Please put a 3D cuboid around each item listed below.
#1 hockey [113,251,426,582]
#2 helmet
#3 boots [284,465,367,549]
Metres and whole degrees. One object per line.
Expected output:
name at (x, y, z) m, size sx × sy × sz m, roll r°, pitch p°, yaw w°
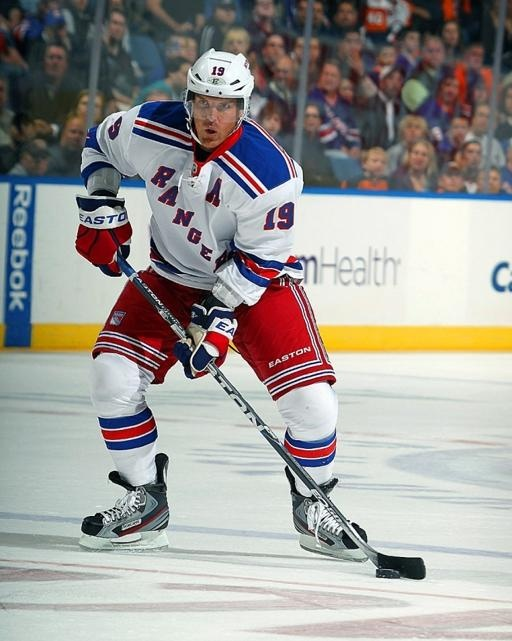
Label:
hockey at (0.035, 0.306, 2.651) m, size 0.123 × 1.443 × 0.270 m, roll -48°, pitch 1°, yaw 32°
helmet at (-0.069, -0.573, 2.033) m, size 0.175 × 0.157 × 0.175 m, roll 8°, pitch 32°, yaw 2°
boots at (0.179, 0.470, 2.065) m, size 0.105 × 0.195 × 0.250 m, roll -14°, pitch 11°, yaw -35°
